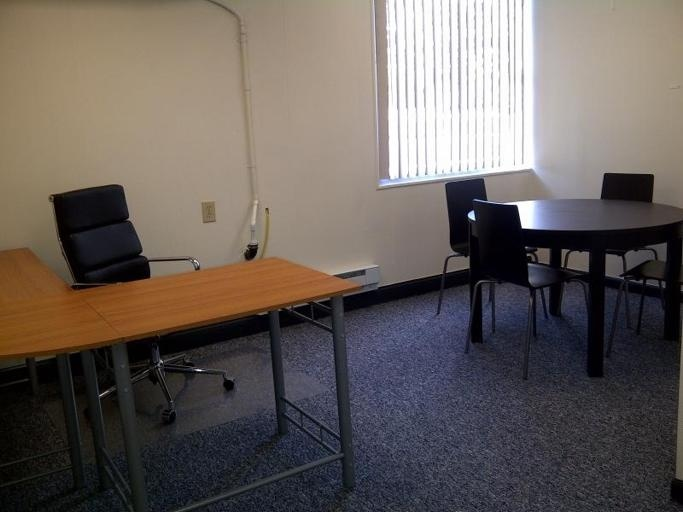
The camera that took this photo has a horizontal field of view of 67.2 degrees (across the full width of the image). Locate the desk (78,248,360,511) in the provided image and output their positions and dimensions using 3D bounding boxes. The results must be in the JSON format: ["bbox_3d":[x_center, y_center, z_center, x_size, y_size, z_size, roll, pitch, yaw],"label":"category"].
[{"bbox_3d":[-0.538,0.596,2.435,1.053,0.989,0.865,-13,16,-29],"label":"desk"}]

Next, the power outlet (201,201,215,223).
[{"bbox_3d":[-1.003,-0.332,3.822,0.135,0.205,0.021,-5,10,-35],"label":"power outlet"}]

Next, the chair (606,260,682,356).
[{"bbox_3d":[2.172,0.394,3.677,0.429,0.780,0.398,8,16,35],"label":"chair"}]
